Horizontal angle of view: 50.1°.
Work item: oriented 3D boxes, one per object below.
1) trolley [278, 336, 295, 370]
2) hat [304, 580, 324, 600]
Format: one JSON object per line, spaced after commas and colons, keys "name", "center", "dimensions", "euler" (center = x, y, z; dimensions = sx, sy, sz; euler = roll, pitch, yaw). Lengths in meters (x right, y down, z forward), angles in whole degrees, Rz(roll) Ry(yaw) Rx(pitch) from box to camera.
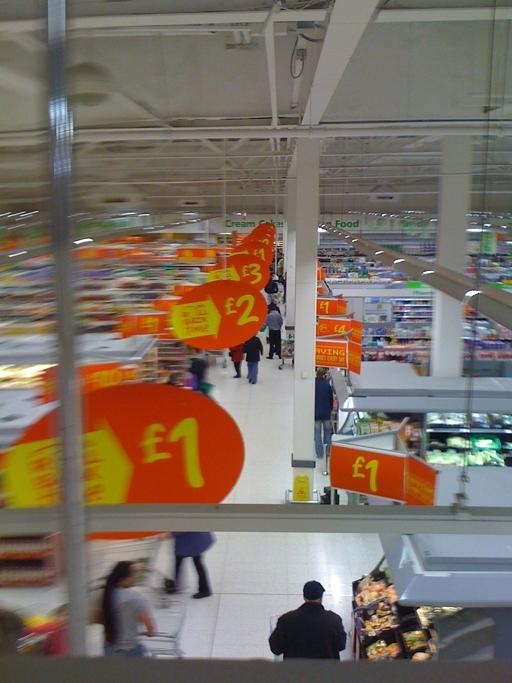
{"name": "trolley", "center": [0.643, 0.258, 11.751], "dimensions": [0.271, 0.186, 0.787], "euler": [-1, 38, 4]}
{"name": "hat", "center": [0.322, 1.352, 3.034], "dimensions": [0.098, 0.066, 0.127], "euler": [3, 33, 5]}
